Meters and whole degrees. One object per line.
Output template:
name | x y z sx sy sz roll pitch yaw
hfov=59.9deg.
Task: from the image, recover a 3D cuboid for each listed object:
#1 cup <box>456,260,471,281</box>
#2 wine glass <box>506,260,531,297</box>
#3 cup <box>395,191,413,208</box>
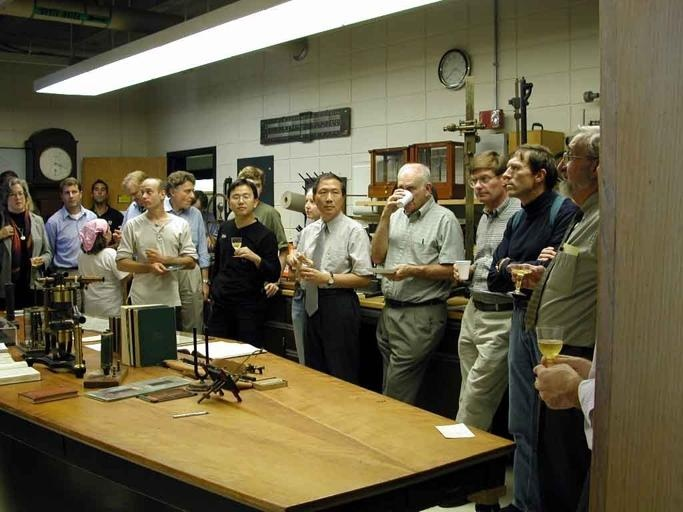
cup | 0.725 0.081 3.565 0.102 0.102 0.108 0 -4 0
wine glass | 0.830 0.117 2.828 0.134 0.184 0.123 0 -6 2
cup | 0.421 -0.379 3.850 0.091 0.101 0.110 23 59 21
